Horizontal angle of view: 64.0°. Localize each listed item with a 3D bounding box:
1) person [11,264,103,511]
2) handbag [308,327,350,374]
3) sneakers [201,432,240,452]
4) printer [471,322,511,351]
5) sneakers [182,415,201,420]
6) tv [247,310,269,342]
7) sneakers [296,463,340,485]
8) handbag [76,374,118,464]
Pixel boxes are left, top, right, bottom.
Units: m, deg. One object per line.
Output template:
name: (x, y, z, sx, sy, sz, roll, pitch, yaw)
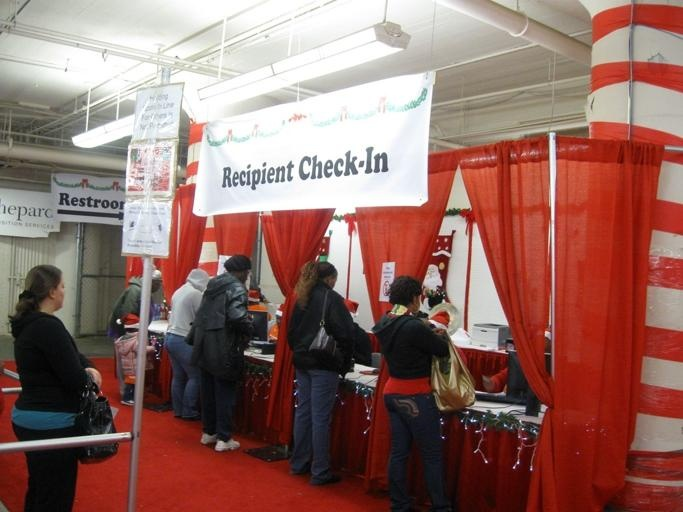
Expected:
person: (-1.666, 0.782, 3.082, 0.490, 1.547, 0.452, 2, 0, -5)
handbag: (-0.111, 0.778, 4.546, 0.129, 0.270, 0.285, -14, -40, 44)
sneakers: (-1.162, 1.817, 5.287, 0.161, 0.146, 0.332, -2, -6, 39)
printer: (1.858, 0.915, 6.809, 0.443, 0.282, 0.437, 1, 0, -44)
sneakers: (-1.681, 1.812, 6.141, 0.192, 0.086, 0.071, 0, -4, -10)
tv: (-0.886, 0.730, 5.773, 0.370, 0.390, 0.039, 1, 2, -1)
sneakers: (-0.160, 1.866, 4.673, 0.419, 0.183, 0.143, 4, -2, -32)
handbag: (-1.380, 0.943, 3.098, 0.205, 0.559, 0.439, 2, -1, -24)
